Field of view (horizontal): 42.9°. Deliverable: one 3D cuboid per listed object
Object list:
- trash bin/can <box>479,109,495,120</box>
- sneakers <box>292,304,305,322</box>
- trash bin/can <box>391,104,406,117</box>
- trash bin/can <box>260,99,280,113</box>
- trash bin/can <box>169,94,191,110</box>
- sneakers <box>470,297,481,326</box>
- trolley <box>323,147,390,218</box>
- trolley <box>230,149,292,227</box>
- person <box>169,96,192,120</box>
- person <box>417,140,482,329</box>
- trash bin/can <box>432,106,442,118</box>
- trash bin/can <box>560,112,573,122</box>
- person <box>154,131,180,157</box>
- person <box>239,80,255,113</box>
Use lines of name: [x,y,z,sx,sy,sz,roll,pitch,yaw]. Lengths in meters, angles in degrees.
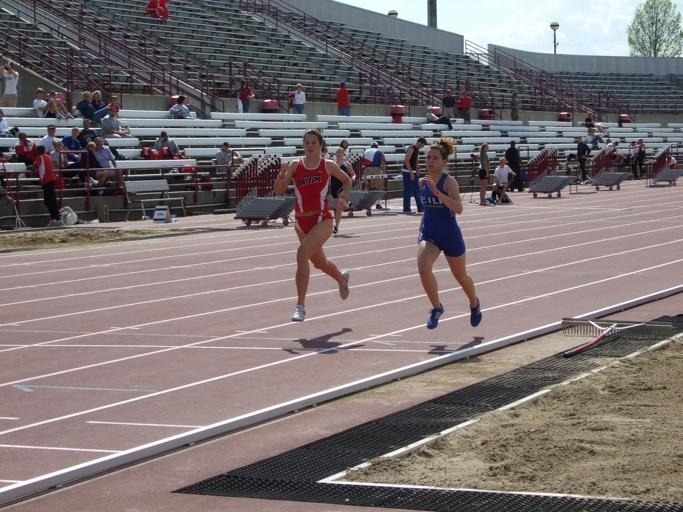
trash bin/can: [7.452,-7.208,44.339,0.667,0.524,0.604,7,2,-15]
sneakers: [-0.444,0.592,8.955,0.128,0.162,0.202,-2,11,-8]
trash bin/can: [2.499,-6.380,38.057,0.625,0.333,0.543,1,0,4]
trash bin/can: [-2.759,-5.735,33.241,0.841,0.472,0.510,1,17,-2]
trash bin/can: [-5.461,-5.192,29.096,0.760,0.493,0.661,1,6,4]
sneakers: [1.329,0.560,8.731,0.118,0.263,0.137,10,10,42]
trolley: [0.307,-2.119,23.935,1.420,1.203,1.051,12,12,14]
trolley: [-2.475,-1.507,21.636,1.343,1.481,1.317,-18,-6,-36]
person: [-5.243,-4.806,28.101,0.561,0.724,0.930,0,11,4]
person: [1.012,-0.156,8.406,0.546,1.920,0.769,5,13,25]
trash bin/can: [4.389,-6.602,39.617,0.559,0.258,0.499,2,0,14]
trash bin/can: [12.853,-7.965,49.704,0.866,0.572,0.767,-1,-1,18]
person: [-4.883,-3.133,24.428,0.500,0.724,0.722,8,13,35]
person: [-3.429,-5.713,31.124,0.445,1.148,0.910,-2,11,-6]
